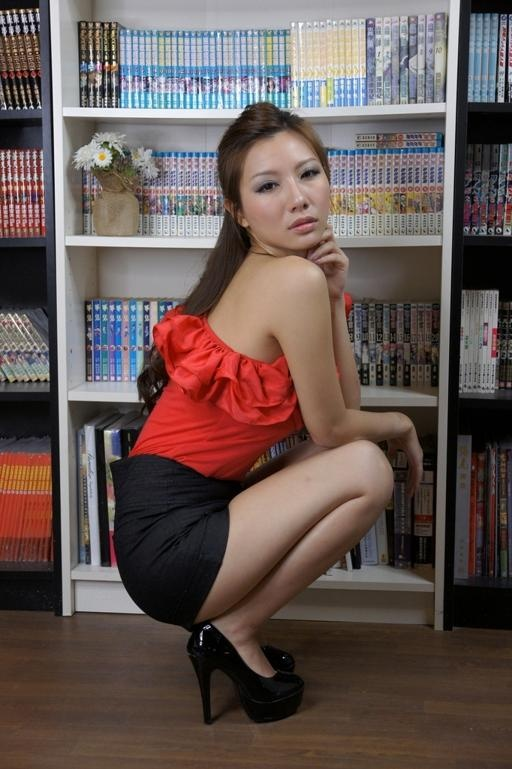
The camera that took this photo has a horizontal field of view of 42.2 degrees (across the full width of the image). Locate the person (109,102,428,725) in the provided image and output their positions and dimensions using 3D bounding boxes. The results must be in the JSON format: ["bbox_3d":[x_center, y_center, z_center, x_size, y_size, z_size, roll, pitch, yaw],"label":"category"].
[{"bbox_3d":[0.003,0.074,1.350,0.606,1.225,0.402,0,3,8],"label":"person"}]
